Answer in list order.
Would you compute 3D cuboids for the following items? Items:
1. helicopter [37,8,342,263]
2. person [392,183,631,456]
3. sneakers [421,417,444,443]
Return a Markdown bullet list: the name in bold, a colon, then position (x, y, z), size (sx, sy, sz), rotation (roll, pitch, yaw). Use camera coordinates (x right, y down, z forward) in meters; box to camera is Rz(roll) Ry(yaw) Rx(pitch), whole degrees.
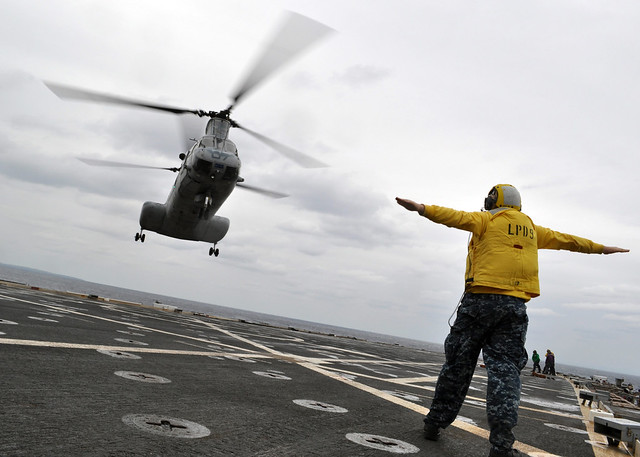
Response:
- **helicopter**: position (-4.781, -4.318, 17.351), size (9.633, 2.927, 10.029), rotation (10, -19, -16)
- **person**: position (1.634, 0.987, 4.550), size (1.240, 2.710, 0.856), rotation (16, -14, 15)
- **sneakers**: position (1.220, 2.179, 4.604), size (0.208, 0.207, 0.254), rotation (12, -11, 17)
